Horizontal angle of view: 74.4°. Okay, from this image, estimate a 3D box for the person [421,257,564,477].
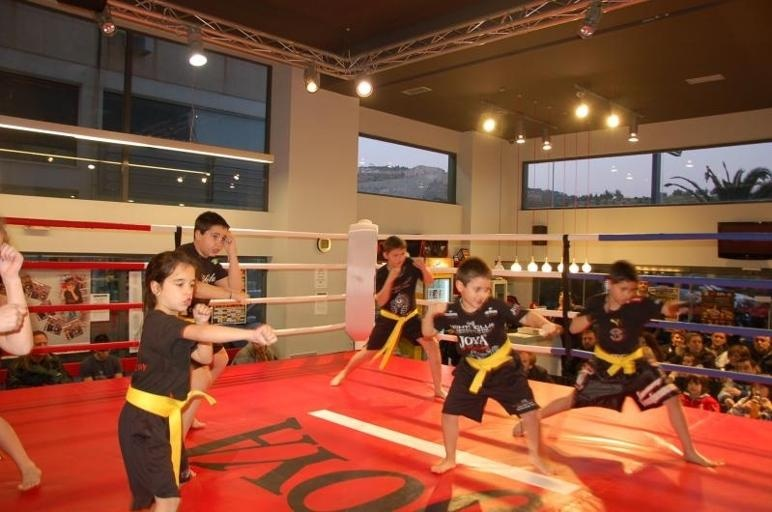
[{"bbox_3d":[0.674,0.671,3.428,0.850,1.332,0.604,0,9,1],"label":"person"}]

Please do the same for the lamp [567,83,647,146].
[{"bbox_3d":[4.042,-2.583,9.188,2.438,0.793,0.408,6,-6,-42],"label":"lamp"}]

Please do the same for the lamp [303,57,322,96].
[{"bbox_3d":[-1.013,-2.454,6.930,0.185,0.420,0.366,-2,9,-12],"label":"lamp"}]

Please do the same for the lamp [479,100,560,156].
[{"bbox_3d":[2.599,-2.535,10.165,1.358,0.774,2.963,5,11,27],"label":"lamp"}]

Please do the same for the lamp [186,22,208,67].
[{"bbox_3d":[-2.195,-2.464,5.882,0.171,0.473,0.326,-3,10,-20],"label":"lamp"}]

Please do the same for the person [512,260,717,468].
[{"bbox_3d":[1.573,0.737,3.575,1.321,1.256,0.424,-5,-2,41],"label":"person"}]
